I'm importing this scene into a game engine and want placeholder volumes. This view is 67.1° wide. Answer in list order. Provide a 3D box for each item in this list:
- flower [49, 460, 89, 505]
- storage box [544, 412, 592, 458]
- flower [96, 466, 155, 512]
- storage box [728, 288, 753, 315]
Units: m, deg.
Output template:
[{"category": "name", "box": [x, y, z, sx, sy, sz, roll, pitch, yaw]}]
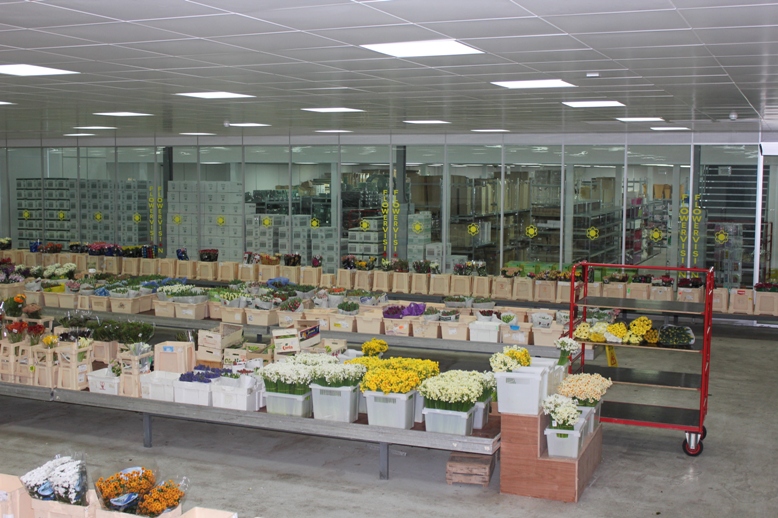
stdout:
[{"category": "flower", "box": [-2.312, 1.616, 4.271, 0.313, 0.283, 0.206, 10, 16, 33]}, {"category": "storage box", "box": [1.924, 1.737, 6.284, 0.422, 0.264, 0.940, 0, 1, 22]}, {"category": "flower", "box": [-1.864, 1.632, 4.173, 0.347, 0.123, 0.326, 1, 2, 4]}, {"category": "storage box", "box": [8.068, 0.962, 13.401, 0.637, 0.524, 0.596, 0, -2, 22]}]
